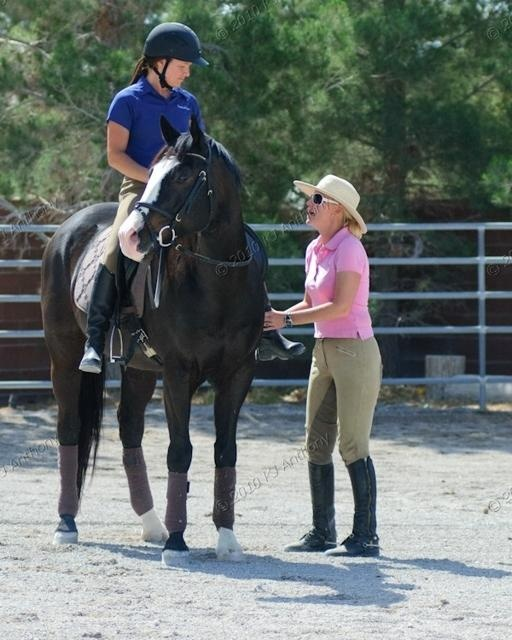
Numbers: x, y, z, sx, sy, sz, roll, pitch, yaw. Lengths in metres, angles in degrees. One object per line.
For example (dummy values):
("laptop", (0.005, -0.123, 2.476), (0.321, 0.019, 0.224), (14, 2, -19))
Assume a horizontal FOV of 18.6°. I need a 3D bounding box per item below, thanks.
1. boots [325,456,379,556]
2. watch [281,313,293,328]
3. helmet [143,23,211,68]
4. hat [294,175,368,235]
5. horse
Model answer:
("boots", (0.669, 1.278, 10.693), (0.342, 0.676, 0.204), (0, 0, 4))
("watch", (0.216, 0.013, 10.731), (0.058, 0.082, 0.088), (-2, 3, 1))
("helmet", (-0.546, -1.927, 10.907), (0.516, 0.279, 0.354), (9, 15, 25))
("hat", (0.522, -0.753, 10.789), (0.507, 0.206, 0.607), (16, -23, -4))
("horse", (-0.730, 0.157, 11.186), (1.463, 2.979, 2.065), (0, 0, -32))
